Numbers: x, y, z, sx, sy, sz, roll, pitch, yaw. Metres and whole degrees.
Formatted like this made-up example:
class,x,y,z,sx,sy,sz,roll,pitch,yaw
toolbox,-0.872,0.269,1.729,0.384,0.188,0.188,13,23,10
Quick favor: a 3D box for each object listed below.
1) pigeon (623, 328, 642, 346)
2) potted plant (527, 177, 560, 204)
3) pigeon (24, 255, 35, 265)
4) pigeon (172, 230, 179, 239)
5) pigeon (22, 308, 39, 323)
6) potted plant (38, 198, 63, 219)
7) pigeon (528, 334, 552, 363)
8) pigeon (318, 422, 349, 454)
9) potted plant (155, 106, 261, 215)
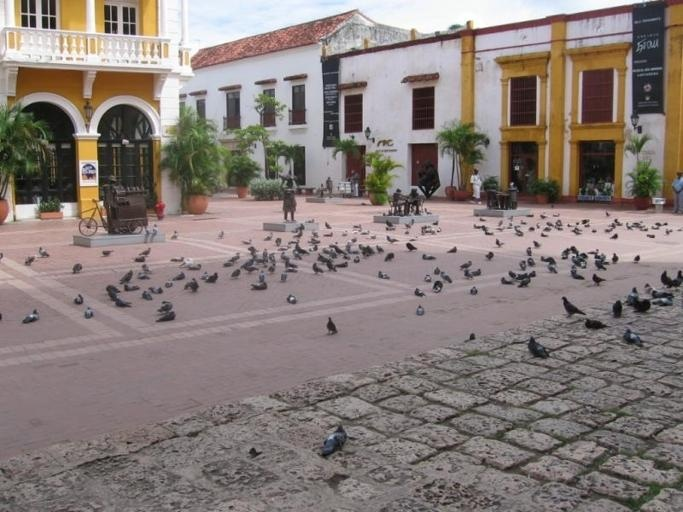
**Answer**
class,x,y,z,sx,sy,sz,roll,pitch,yaw
pigeon,3.564,0.984,7.778,0.133,0.171,0.282,-2,5,3
potted plant,10.079,-3.179,31.783,1.251,1.264,1.288,7,15,27
pigeon,-6.772,0.090,13.882,0.103,0.172,0.319,-4,12,-4
pigeon,-4.798,-0.615,18.460,0.237,0.385,0.383,-2,14,-17
pigeon,-4.433,0.857,9.140,0.132,0.165,0.385,0,4,-16
potted plant,-10.684,-1.742,23.520,0.911,0.846,0.720,-5,10,-38
pigeon,2.325,1.093,7.551,0.152,0.197,0.326,2,9,-4
pigeon,-0.048,1.594,5.490,0.135,0.128,0.352,5,36,38
potted plant,-5.684,-3.544,24.897,2.428,3.847,1.490,-3,11,-16
